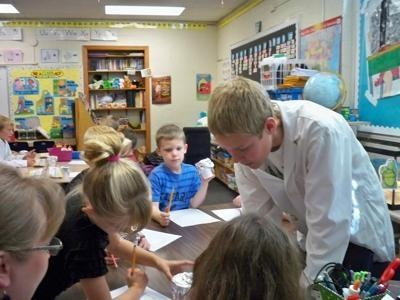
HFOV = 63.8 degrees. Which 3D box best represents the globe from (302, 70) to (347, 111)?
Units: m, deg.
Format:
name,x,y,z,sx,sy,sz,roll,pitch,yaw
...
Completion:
name,x,y,z,sx,sy,sz,roll,pitch,yaw
globe,1.079,-0.535,2.907,0.342,0.380,0.315,8,15,28
